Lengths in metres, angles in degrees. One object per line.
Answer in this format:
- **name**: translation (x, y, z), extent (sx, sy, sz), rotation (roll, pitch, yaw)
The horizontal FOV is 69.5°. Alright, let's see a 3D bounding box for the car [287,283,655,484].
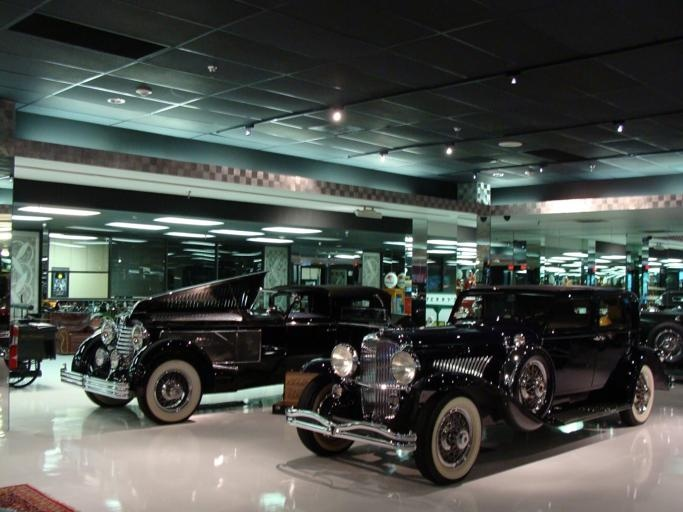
- **car**: translation (1.473, 1.087, 4.950), extent (3.782, 1.594, 1.332), rotation (2, -3, -35)
